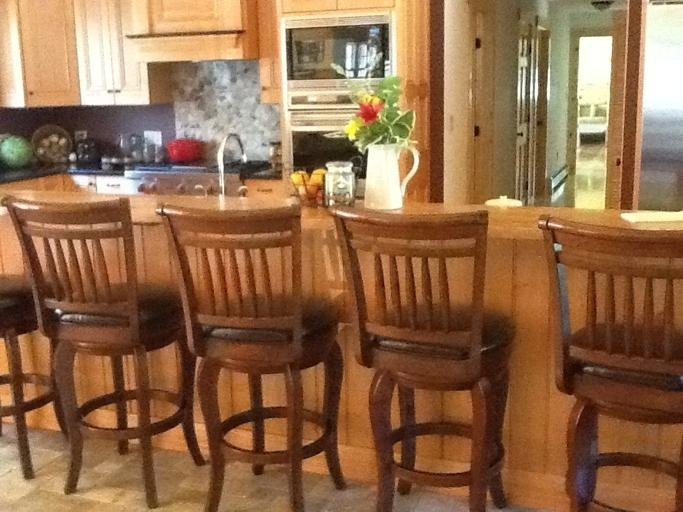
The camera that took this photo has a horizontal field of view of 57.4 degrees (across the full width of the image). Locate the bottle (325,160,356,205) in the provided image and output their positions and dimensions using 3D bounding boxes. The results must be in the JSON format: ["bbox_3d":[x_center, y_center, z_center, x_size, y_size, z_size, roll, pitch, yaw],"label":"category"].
[{"bbox_3d":[-0.009,-0.323,2.790,0.137,0.188,0.192,-2,15,-1],"label":"bottle"}]

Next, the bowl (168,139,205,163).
[{"bbox_3d":[-1.374,-0.929,5.582,0.285,0.130,0.257,-12,19,-38],"label":"bowl"}]

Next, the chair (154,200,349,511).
[{"bbox_3d":[-0.318,0.409,2.580,0.658,1.335,0.604,-3,16,-3],"label":"chair"}]

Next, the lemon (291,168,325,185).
[{"bbox_3d":[-0.152,-0.378,2.984,0.159,0.057,0.084,-3,6,8],"label":"lemon"}]
